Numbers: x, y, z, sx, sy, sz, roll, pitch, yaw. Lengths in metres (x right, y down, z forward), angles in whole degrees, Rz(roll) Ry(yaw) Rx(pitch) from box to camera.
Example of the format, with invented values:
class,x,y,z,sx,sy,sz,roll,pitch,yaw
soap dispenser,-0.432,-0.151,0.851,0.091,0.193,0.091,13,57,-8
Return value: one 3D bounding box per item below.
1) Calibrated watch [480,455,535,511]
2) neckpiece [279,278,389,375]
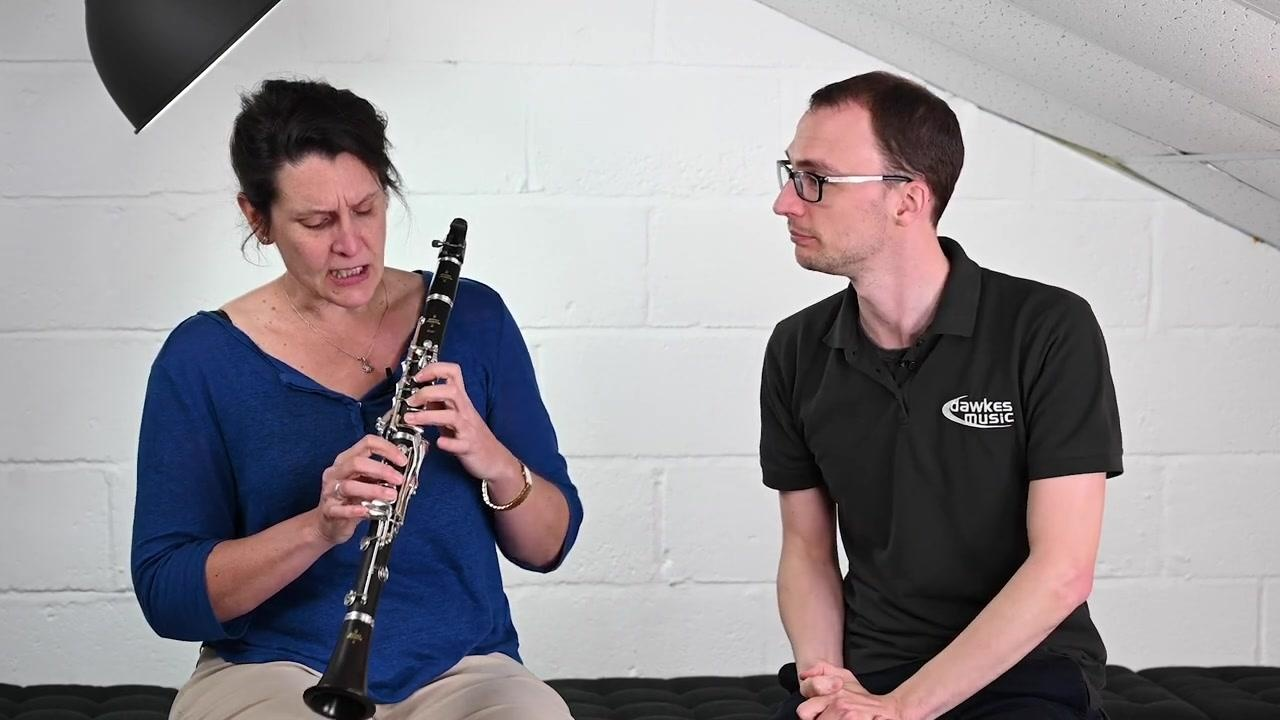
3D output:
class,x,y,z,sx,sy,sz,roll,pitch,yaw
Calibrated watch,-0.348,0.330,3.170,0.125,0.049,0.139,-26,-20,-19
neckpiece,-0.805,-0.079,3.233,0.188,0.301,0.039,-30,0,-14
